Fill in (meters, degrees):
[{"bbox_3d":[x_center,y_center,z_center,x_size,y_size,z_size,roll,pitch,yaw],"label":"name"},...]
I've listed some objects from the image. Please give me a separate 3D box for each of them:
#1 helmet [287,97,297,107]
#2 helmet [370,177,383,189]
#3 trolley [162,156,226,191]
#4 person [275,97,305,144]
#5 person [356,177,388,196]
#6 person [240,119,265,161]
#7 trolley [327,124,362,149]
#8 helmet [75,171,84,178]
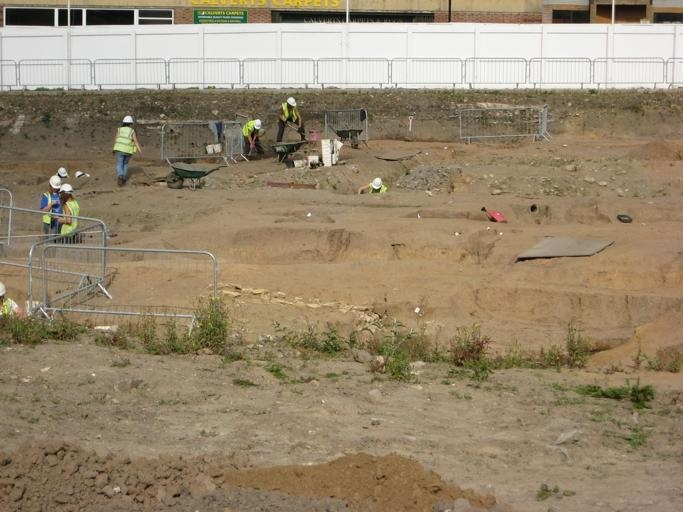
[{"bbox_3d":[-1.552,-4.783,36.283,0.407,0.175,0.547,14,8,-10],"label":"helmet"},{"bbox_3d":[1.037,-2.096,33.894,0.304,0.301,0.453,1,9,4],"label":"helmet"},{"bbox_3d":[-4.452,-2.394,34.405,1.541,0.703,0.888,5,16,1],"label":"trolley"},{"bbox_3d":[-1.623,-4.211,36.696,0.958,1.657,0.931,-7,29,-8],"label":"person"},{"bbox_3d":[0.866,-2.034,34.348,0.827,0.529,1.489,2,-10,-11],"label":"person"},{"bbox_3d":[-2.819,-3.791,37.110,0.711,1.327,0.554,16,29,26],"label":"person"},{"bbox_3d":[0.137,-4.026,39.298,1.216,0.719,0.539,-1,9,-11],"label":"trolley"},{"bbox_3d":[-7.845,-2.429,34.786,0.219,0.162,0.314,3,8,21],"label":"helmet"}]
